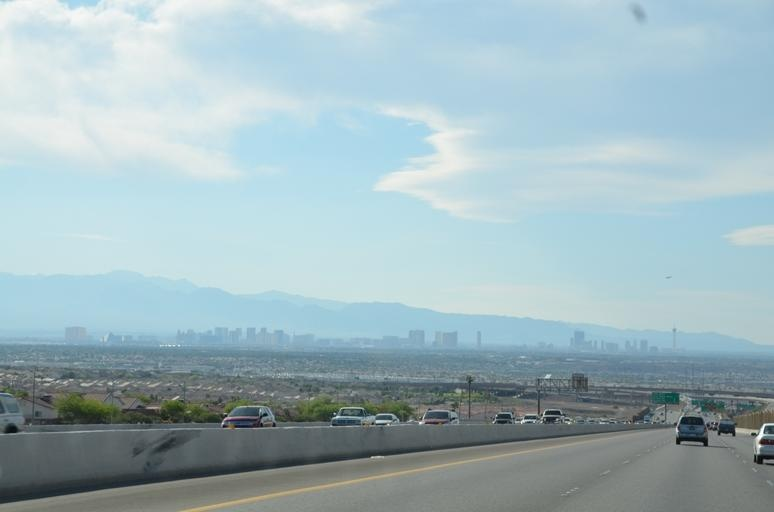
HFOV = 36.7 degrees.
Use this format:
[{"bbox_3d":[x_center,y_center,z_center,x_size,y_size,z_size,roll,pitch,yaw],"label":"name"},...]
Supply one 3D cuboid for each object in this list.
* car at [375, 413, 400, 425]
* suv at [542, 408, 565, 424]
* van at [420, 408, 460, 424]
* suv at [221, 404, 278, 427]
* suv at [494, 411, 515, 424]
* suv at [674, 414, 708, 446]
[{"bbox_3d":[-0.001,13.419,95.082,1.678,0.888,2.959,-2,-13,8],"label":"car"},{"bbox_3d":[16.204,15.607,112.793,1.568,1.184,3.260,-4,-13,12],"label":"suv"},{"bbox_3d":[4.346,12.930,92.336,1.547,1.121,3.232,-3,-15,9],"label":"van"},{"bbox_3d":[-8.934,10.729,76.913,3.088,1.236,4.156,4,-2,-2],"label":"suv"},{"bbox_3d":[10.628,14.791,105.259,1.861,1.394,2.923,-3,-13,8],"label":"suv"},{"bbox_3d":[23.620,13.453,89.762,1.697,1.330,3.321,0,1,14],"label":"suv"}]
